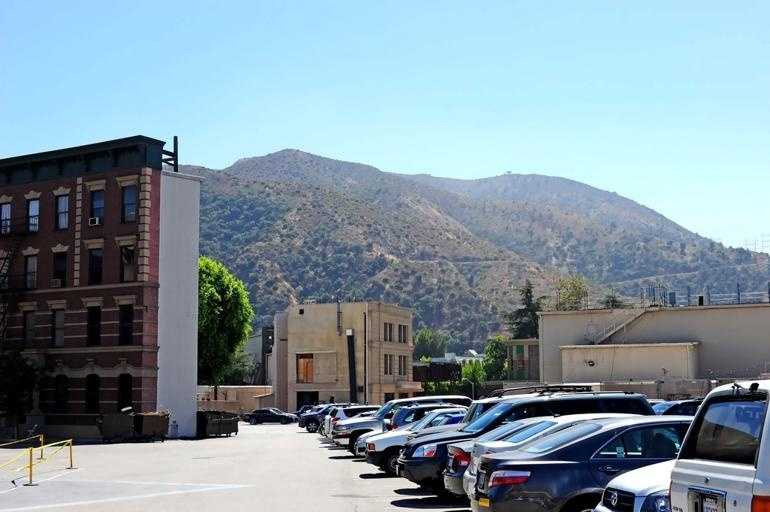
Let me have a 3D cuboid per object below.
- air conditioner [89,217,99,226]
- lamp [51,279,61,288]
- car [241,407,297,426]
[{"bbox_3d":[-18.612,-2.172,68.019,0.718,0.609,0.479,-1,-4,16],"label":"air conditioner"},{"bbox_3d":[-21.204,1.769,68.562,0.622,0.568,0.305,0,-9,-9],"label":"lamp"},{"bbox_3d":[-10.882,15.164,98.590,4.362,1.239,1.976,-3,-7,8],"label":"car"}]
